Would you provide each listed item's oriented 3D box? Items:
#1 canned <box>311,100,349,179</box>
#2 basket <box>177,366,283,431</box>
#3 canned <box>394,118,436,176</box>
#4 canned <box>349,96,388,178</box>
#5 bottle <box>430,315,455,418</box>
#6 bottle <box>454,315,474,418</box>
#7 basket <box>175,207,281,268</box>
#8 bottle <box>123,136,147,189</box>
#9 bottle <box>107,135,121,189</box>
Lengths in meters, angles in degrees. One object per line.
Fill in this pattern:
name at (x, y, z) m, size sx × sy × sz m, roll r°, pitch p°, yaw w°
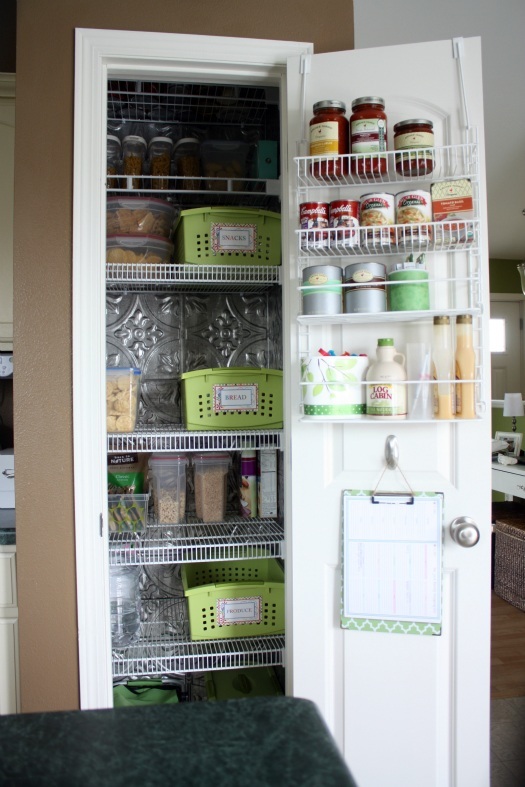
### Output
canned at (0.135, -0.513, 1.391) m, size 0.083 × 0.151 × 0.109 m, roll -3°, pitch -7°, yaw 6°
basket at (-0.082, 0.012, 1.912) m, size 0.220 × 0.121 × 0.175 m, roll -1°, pitch -3°, yaw -8°
canned at (0.300, -0.488, 1.348) m, size 0.076 × 0.100 × 0.094 m, roll -3°, pitch -7°, yaw 12°
canned at (0.209, -0.511, 1.352) m, size 0.072 × 0.153 × 0.084 m, roll -3°, pitch -7°, yaw 8°
bottle at (0.359, -0.053, 1.346) m, size 0.047 × 0.211 × 0.167 m, roll -4°, pitch -7°, yaw 16°
bottle at (0.403, -0.053, 1.353) m, size 0.045 × 0.209 × 0.105 m, roll -4°, pitch -7°, yaw 18°
basket at (-0.091, -0.425, 1.931) m, size 0.226 × 0.116 × 0.177 m, roll -1°, pitch 2°, yaw -16°
bottle at (-0.364, -0.665, 1.962) m, size 0.061 × 0.192 × 0.073 m, roll 2°, pitch 5°, yaw -8°
bottle at (-0.426, -0.666, 1.928) m, size 0.052 × 0.165 × 0.066 m, roll 0°, pitch 9°, yaw -15°
